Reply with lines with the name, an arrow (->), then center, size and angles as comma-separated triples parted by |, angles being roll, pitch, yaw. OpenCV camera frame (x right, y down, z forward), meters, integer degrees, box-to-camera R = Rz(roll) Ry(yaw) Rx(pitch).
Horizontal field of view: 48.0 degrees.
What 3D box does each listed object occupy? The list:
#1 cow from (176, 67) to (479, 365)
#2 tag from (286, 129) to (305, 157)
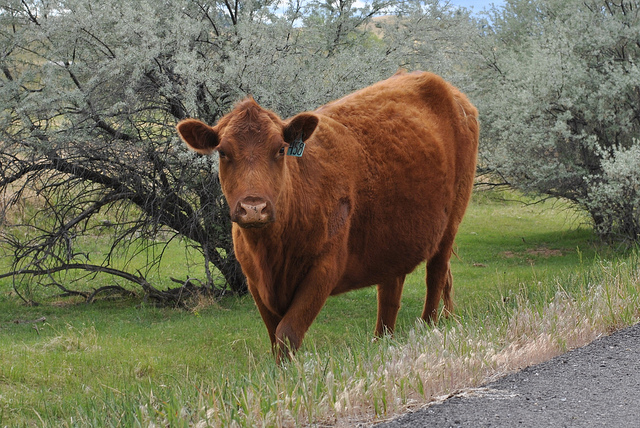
cow -> 0.420, -0.064, 10.184 | 3.925, 3.833, 1.000 | -8, 8, -34
tag -> -0.327, -0.951, 9.432 | 0.219, 0.418, 0.043 | 17, -3, 4
